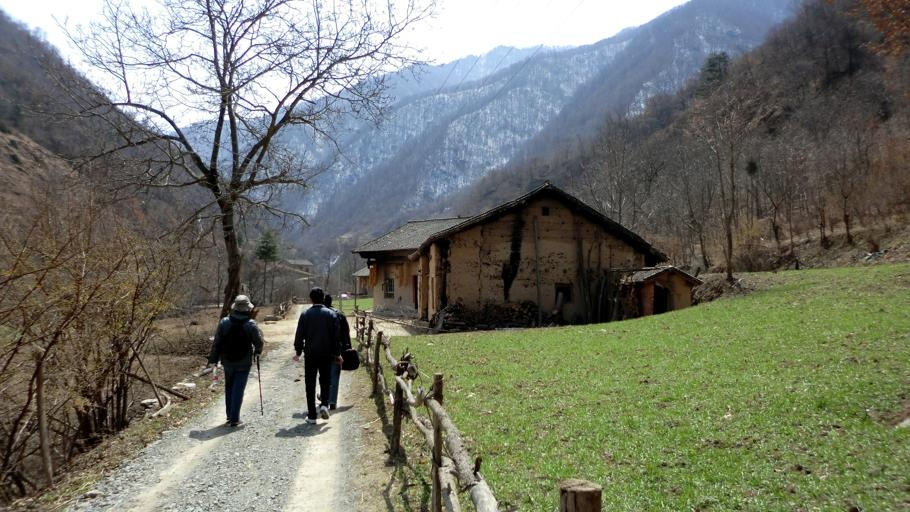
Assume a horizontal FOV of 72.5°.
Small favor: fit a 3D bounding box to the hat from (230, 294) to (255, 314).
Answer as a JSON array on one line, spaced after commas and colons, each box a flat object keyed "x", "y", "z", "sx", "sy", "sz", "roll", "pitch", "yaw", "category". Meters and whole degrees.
[{"x": -9.280, "y": 2.148, "z": 27.595, "sx": 1.132, "sy": 0.606, "sz": 1.065, "roll": 3, "pitch": 1, "yaw": -31, "category": "hat"}]
